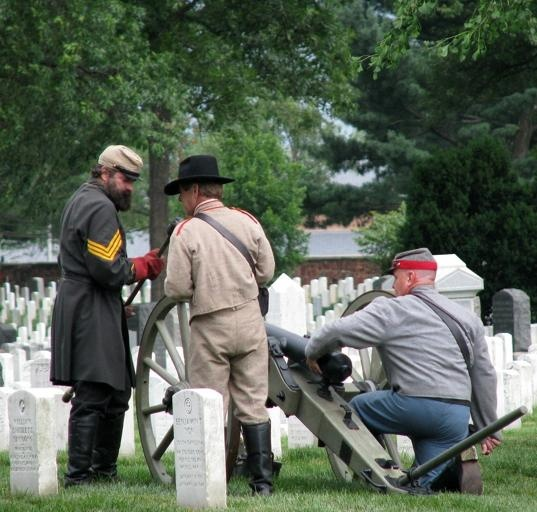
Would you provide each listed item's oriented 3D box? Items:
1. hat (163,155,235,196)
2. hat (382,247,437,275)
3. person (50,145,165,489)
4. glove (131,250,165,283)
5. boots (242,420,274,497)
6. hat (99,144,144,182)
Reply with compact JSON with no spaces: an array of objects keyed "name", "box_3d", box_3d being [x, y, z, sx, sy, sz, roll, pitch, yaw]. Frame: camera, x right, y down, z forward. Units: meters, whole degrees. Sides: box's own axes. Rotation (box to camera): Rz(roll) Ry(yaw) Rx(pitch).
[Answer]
[{"name":"hat","box_3d":[-0.810,-1.027,22.958,0.897,0.374,0.797,-4,2,6]},{"name":"hat","box_3d":[1.798,0.074,22.919,0.421,0.212,0.310,2,-2,14]},{"name":"person","box_3d":[-2.066,0.731,23.050,1.176,4.096,0.684,-1,-8,-8]},{"name":"glove","box_3d":[-1.555,0.117,23.172,0.520,0.213,0.311,-7,16,-19]},{"name":"boots","box_3d":[-0.114,2.430,22.589,0.359,0.881,0.246,-1,-8,-6]},{"name":"hat","box_3d":[-1.738,-1.098,23.345,0.604,0.338,0.431,5,-14,44]}]
